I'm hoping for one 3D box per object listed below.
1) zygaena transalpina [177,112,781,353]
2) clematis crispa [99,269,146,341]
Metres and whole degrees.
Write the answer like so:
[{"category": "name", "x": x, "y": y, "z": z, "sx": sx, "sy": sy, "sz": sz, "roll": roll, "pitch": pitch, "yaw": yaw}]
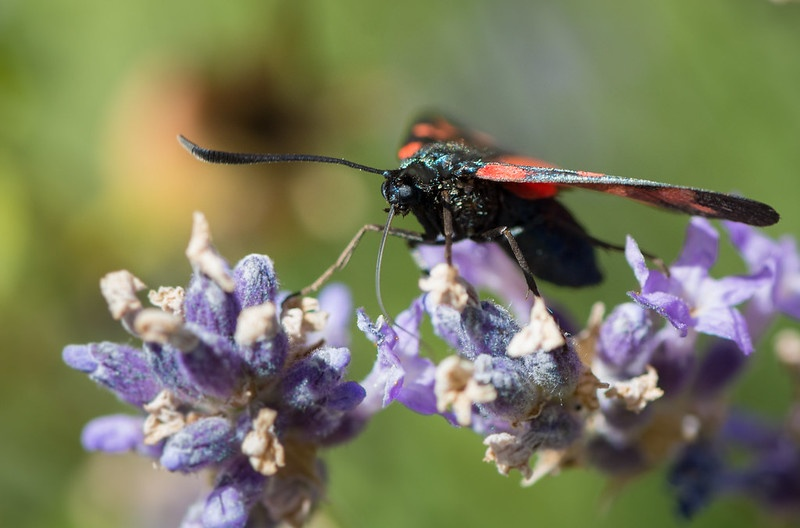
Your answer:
[{"category": "zygaena transalpina", "x": 0.451, "y": -0.263, "z": 5.071, "sx": 3.070, "sy": 0.954, "sz": 3.288, "roll": -8, "pitch": -6, "yaw": 42}, {"category": "clematis crispa", "x": -1.404, "y": 0.218, "z": 4.363, "sx": 0.198, "sy": 0.306, "sz": 0.345, "roll": 2, "pitch": -55, "yaw": -9}]
